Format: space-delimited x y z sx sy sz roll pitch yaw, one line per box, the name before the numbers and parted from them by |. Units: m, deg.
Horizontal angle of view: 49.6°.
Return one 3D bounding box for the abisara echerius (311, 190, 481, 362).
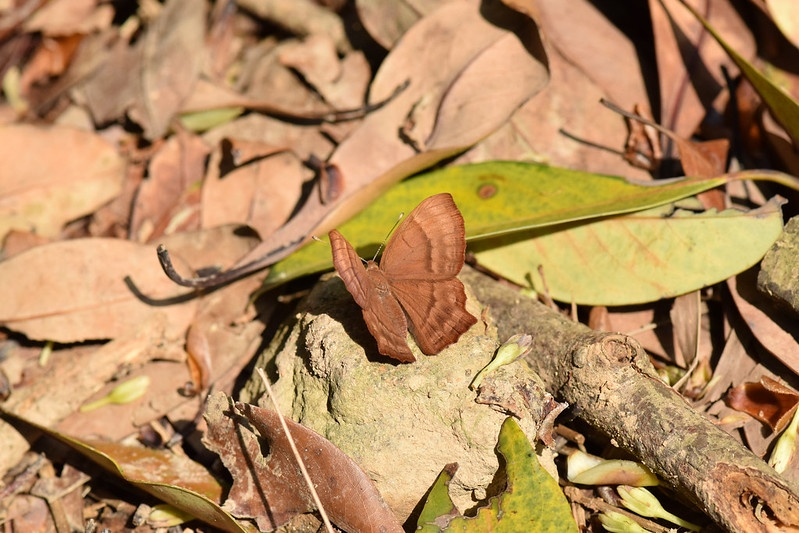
abisara echerius | 0.037 0.064 3.237 0.481 0.557 0.383 -15 38 4
